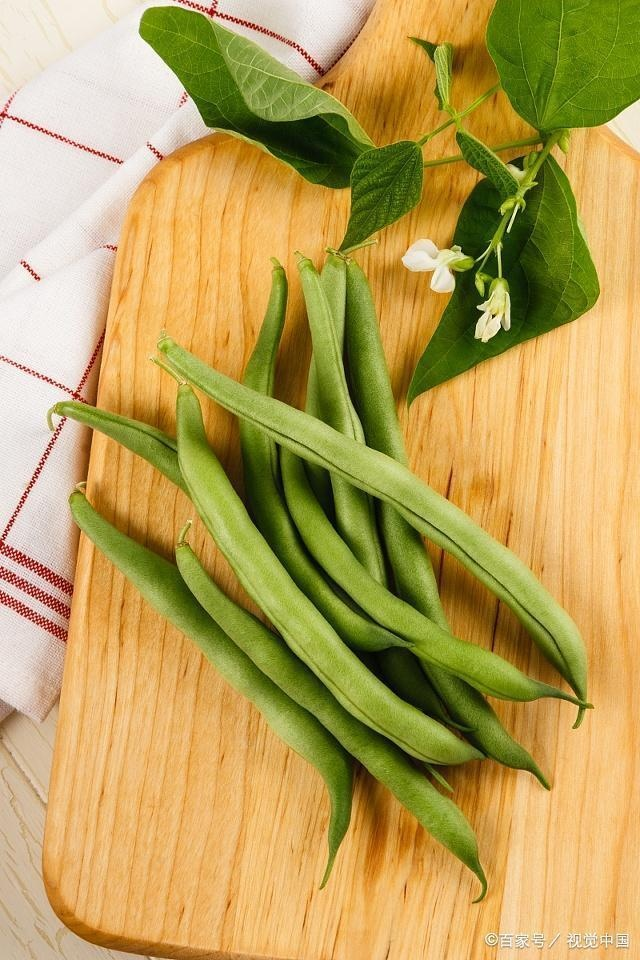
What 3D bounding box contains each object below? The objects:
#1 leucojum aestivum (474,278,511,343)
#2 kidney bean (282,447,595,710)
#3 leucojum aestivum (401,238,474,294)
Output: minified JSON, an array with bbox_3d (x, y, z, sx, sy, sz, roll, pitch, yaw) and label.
[{"bbox_3d":[0.106,-0.099,0.551,0.015,0.042,0.021,-5,-7,35],"label":"leucojum aestivum"},{"bbox_3d":[0.069,0.066,0.545,0.185,0.030,0.024,53,27,-6],"label":"kidney bean"},{"bbox_3d":[0.067,-0.138,0.577,0.042,0.037,0.045,-9,38,-13],"label":"leucojum aestivum"}]
